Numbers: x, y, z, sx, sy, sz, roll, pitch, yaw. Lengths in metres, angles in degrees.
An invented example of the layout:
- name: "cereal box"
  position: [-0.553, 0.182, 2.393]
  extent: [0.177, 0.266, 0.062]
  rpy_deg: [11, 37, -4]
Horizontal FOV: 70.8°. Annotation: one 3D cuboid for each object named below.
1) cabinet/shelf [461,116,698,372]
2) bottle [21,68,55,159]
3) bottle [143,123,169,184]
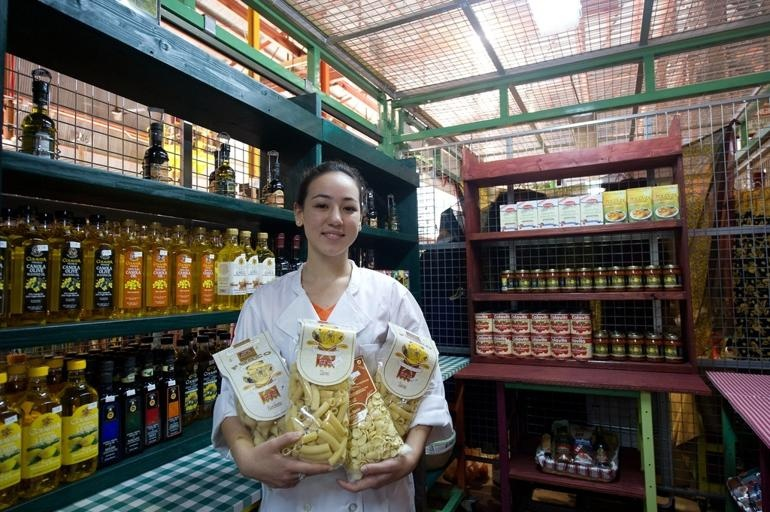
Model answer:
- name: "cabinet/shelf"
  position: [1.468, -0.031, 4.088]
  extent: [2.141, 2.019, 0.707]
  rpy_deg: [-3, 0, 21]
- name: "bottle"
  position: [-1.553, -0.624, 2.467]
  extent: [0.141, 0.384, 0.163]
  rpy_deg: [2, -7, -43]
- name: "bottle"
  position: [-1.186, -0.533, 2.808]
  extent: [0.115, 0.311, 0.137]
  rpy_deg: [0, -6, -27]
